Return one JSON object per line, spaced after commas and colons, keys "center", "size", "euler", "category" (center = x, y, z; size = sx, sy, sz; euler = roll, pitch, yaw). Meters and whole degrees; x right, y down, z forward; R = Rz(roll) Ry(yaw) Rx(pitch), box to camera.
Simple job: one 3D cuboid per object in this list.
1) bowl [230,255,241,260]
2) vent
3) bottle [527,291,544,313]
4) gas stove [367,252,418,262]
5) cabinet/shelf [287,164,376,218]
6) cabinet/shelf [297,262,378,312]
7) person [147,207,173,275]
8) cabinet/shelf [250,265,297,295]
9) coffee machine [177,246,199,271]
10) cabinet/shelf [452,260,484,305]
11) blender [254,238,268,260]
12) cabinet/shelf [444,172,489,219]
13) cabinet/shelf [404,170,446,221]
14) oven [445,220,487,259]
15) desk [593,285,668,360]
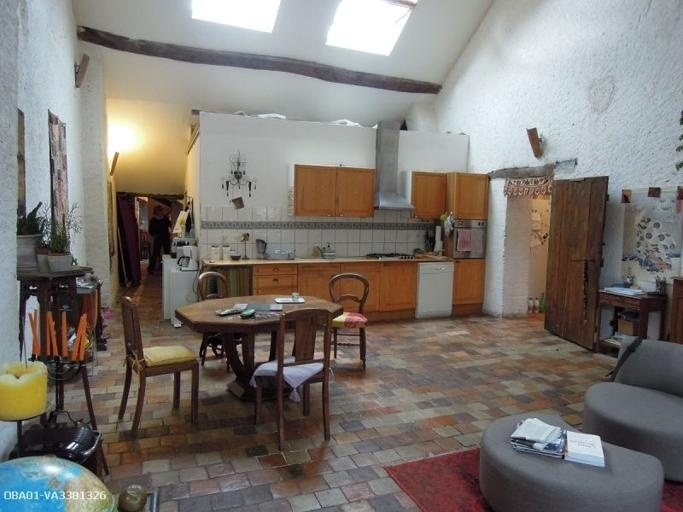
{"center": [-1.519, 0.030, 6.906], "size": [0.142, 0.077, 0.086], "euler": [-7, 15, -37], "category": "bowl"}
{"center": [0.831, -1.448, 7.625], "size": [0.584, 1.377, 0.800], "euler": [2, 13, 3], "category": "vent"}
{"center": [3.342, 0.813, 8.193], "size": [0.417, 0.410, 0.161], "euler": [-1, 2, -19], "category": "bottle"}
{"center": [0.804, 0.014, 7.665], "size": [0.781, 0.063, 0.699], "euler": [-2, 12, -18], "category": "gas stove"}
{"center": [-0.183, -1.003, 7.433], "size": [1.429, 0.795, 0.435], "euler": [-3, 10, -31], "category": "cabinet/shelf"}
{"center": [0.013, 0.559, 7.270], "size": [1.301, 0.789, 0.669], "euler": [0, -14, 4], "category": "cabinet/shelf"}
{"center": [-4.534, -0.425, 11.779], "size": [0.568, 1.630, 1.022], "euler": [-3, 14, -21], "category": "person"}
{"center": [-0.974, 0.302, 6.902], "size": [0.751, 0.664, 0.384], "euler": [-1, 3, -20], "category": "cabinet/shelf"}
{"center": [-2.259, 0.064, 7.008], "size": [0.321, 0.389, 0.410], "euler": [0, -2, -24], "category": "coffee machine"}
{"center": [2.073, 0.433, 8.140], "size": [0.601, 0.760, 0.514], "euler": [-2, 6, -14], "category": "cabinet/shelf"}
{"center": [-1.212, -0.099, 7.196], "size": [0.288, 0.358, 0.237], "euler": [-2, 4, -8], "category": "blender"}
{"center": [2.031, -0.980, 7.764], "size": [0.843, 0.905, 0.484], "euler": [0, 1, -18], "category": "cabinet/shelf"}
{"center": [1.523, -1.008, 7.900], "size": [0.618, 0.759, 0.302], "euler": [9, 18, 35], "category": "cabinet/shelf"}
{"center": [2.050, -0.282, 8.035], "size": [0.711, 0.636, 0.500], "euler": [0, 3, -19], "category": "oven"}
{"center": [3.501, 0.806, 5.763], "size": [0.461, 0.692, 0.639], "euler": [1, 1, -20], "category": "desk"}
